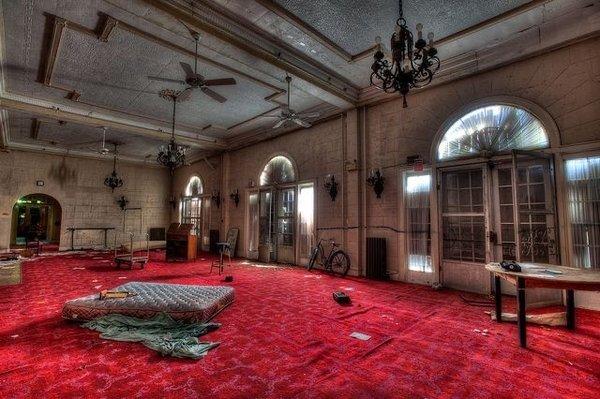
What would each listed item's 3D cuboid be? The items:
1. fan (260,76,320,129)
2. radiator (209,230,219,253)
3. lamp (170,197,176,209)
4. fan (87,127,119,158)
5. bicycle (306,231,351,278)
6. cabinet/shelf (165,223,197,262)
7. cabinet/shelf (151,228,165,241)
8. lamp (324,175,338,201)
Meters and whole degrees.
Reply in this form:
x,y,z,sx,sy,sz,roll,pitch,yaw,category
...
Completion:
x,y,z,sx,sy,sz,roll,pitch,yaw,category
-0.217,-2.498,10.021,1.280,1.035,1.277,0,-24,3,fan
-3.513,1.695,14.497,0.081,1.103,0.849,10,-15,-39,radiator
-6.619,0.147,18.272,0.165,0.520,0.626,-3,5,-38,lamp
-7.563,-2.293,13.842,0.807,0.629,3.183,-2,4,-29,fan
0.980,1.737,10.340,0.763,0.857,1.402,9,-3,-30,bicycle
-4.201,1.526,12.413,1.175,1.568,0.594,-5,-13,22,cabinet/shelf
-7.266,1.735,17.906,0.275,0.462,0.547,-13,-16,43,cabinet/shelf
0.959,-0.379,10.475,0.173,0.806,0.429,-4,6,-45,lamp
